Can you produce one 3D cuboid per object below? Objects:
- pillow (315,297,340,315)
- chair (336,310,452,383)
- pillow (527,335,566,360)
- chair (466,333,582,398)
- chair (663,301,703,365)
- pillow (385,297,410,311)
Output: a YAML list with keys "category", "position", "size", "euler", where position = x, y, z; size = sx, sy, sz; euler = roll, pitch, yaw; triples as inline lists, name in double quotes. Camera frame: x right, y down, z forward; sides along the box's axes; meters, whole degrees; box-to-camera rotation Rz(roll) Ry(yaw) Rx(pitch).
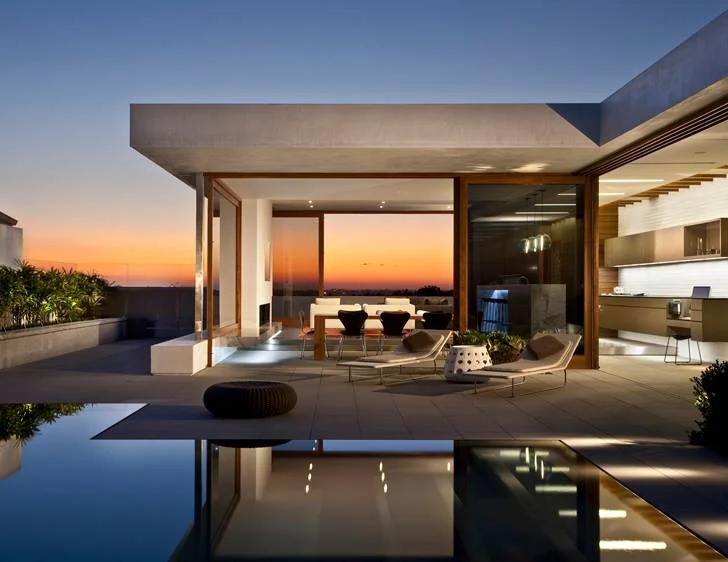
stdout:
- category: "pillow"
  position: [-0.969, 0.651, 13.241]
  size: [0.473, 0.370, 0.459]
  euler: [0, 2, -2]
- category: "chair"
  position: [0.601, 1.074, 8.364]
  size: [1.805, 0.629, 0.903]
  euler: [4, -4, -43]
- category: "pillow"
  position: [2.716, 0.974, 7.667]
  size: [0.364, 0.118, 0.413]
  euler: [-17, 11, 13]
- category: "chair"
  position: [2.475, 1.127, 7.539]
  size: [1.827, 0.725, 0.861]
  euler: [2, -3, -40]
- category: "chair"
  position: [6.537, 0.976, 10.468]
  size: [0.669, 1.270, 1.872]
  euler: [0, 1, 33]
- category: "pillow"
  position: [0.935, 0.615, 13.800]
  size: [0.393, 0.281, 0.373]
  euler: [0, 3, 5]
